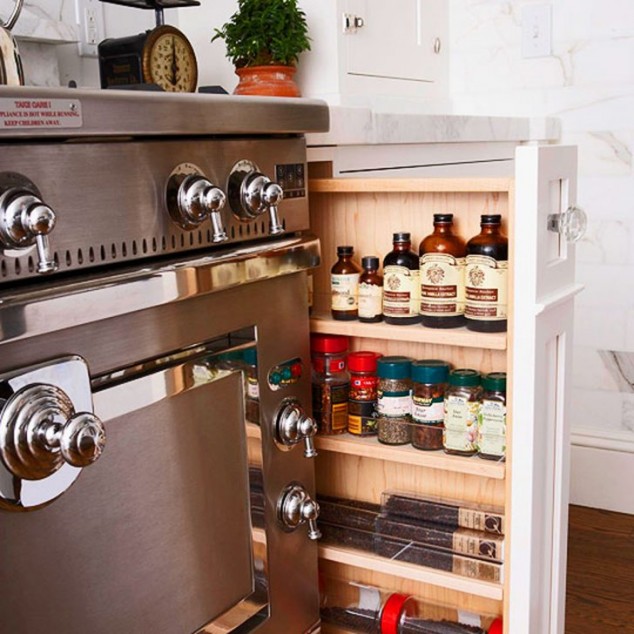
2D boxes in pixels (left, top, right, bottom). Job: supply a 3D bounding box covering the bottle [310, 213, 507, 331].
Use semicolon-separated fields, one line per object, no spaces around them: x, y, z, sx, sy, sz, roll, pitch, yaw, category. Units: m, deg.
0.170;-0.075;1.003;0.223;0.143;0.072;2;6;24;bottle
